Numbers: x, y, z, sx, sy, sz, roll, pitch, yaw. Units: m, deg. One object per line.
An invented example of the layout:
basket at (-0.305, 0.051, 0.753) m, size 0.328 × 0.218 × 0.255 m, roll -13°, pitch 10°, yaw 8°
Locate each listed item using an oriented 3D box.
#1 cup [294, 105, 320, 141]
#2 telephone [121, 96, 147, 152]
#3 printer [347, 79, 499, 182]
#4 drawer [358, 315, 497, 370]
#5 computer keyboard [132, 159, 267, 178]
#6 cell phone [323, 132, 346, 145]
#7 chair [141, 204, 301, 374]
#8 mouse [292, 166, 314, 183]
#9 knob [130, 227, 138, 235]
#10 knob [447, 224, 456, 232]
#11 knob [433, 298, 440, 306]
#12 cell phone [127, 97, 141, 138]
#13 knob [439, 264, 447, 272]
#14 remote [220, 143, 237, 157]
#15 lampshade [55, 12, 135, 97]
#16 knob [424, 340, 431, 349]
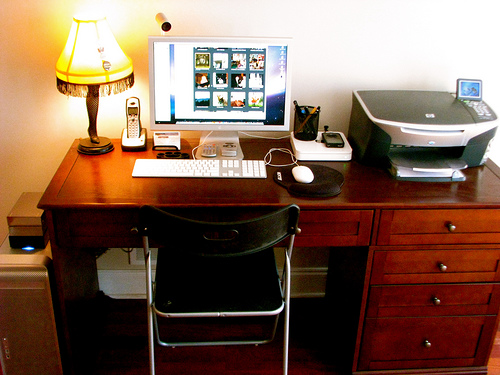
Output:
cup at (0.269, -0.305, 2.214) m, size 0.154 × 0.160 × 0.170 m, roll 9°, pitch 28°, yaw 14°
telephone at (-0.567, -0.309, 2.137) m, size 0.123 × 0.247 × 0.169 m, roll -4°, pitch 18°, yaw -12°
printer at (0.788, -0.211, 2.107) m, size 0.632 × 0.412 × 0.489 m, roll 0°, pitch 40°, yaw 4°
drawer at (0.805, 0.712, 2.026) m, size 0.498 × 0.303 × 0.308 m, roll 0°, pitch 30°, yaw 0°
computer keyboard at (-0.220, -0.085, 1.957) m, size 0.577 × 0.057 × 0.126 m, roll 0°, pitch 18°, yaw -2°
cell phone at (0.408, -0.233, 2.129) m, size 0.092 × 0.043 × 0.109 m, roll 0°, pitch 18°, yaw -2°
chair at (-0.132, 0.453, 1.877) m, size 0.601 × 1.002 × 0.622 m, roll 0°, pitch 39°, yaw -2°
mouse at (0.222, -0.054, 1.877) m, size 0.069 × 0.056 × 0.089 m, roll -12°, pitch 21°, yaw -33°
knob at (-0.455, 0.171, 1.737) m, size 0.033 × 0.032 × 0.024 m, roll 6°, pitch 46°, yaw -5°
knob at (0.825, 0.165, 1.812) m, size 0.022 × 0.017 × 0.030 m, roll -1°, pitch 24°, yaw 5°
knob at (0.811, 0.499, 1.929) m, size 0.027 × 0.021 × 0.023 m, roll -14°, pitch 39°, yaw -9°
cell phone at (-0.554, -0.328, 2.092) m, size 0.059 × 0.184 × 0.039 m, roll -1°, pitch 17°, yaw -3°
knob at (0.819, 0.342, 1.882) m, size 0.024 × 0.030 × 0.027 m, roll 8°, pitch 15°, yaw 4°
remote at (-0.103, -0.175, 2.090) m, size 0.078 × 0.048 × 0.077 m, roll -1°, pitch 18°, yaw -4°
lampshade at (-0.689, -0.595, 2.045) m, size 0.367 × 0.316 × 0.339 m, roll -1°, pitch 34°, yaw -5°
knob at (0.799, 0.710, 2.000) m, size 0.034 × 0.030 × 0.025 m, roll -3°, pitch 35°, yaw 5°
